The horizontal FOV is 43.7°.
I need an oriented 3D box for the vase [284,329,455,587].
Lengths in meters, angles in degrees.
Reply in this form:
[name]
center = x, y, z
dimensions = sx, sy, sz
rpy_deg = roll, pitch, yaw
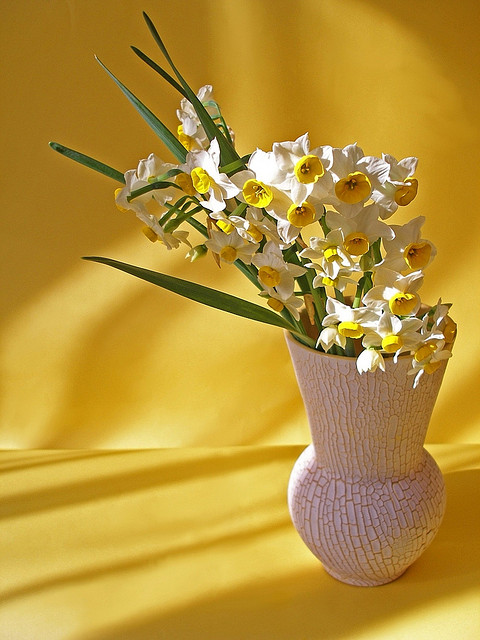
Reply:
[vase]
center = 0.174, 0.205, 0.804
dimensions = 0.197, 0.239, 0.176
rpy_deg = -3, -5, -8
